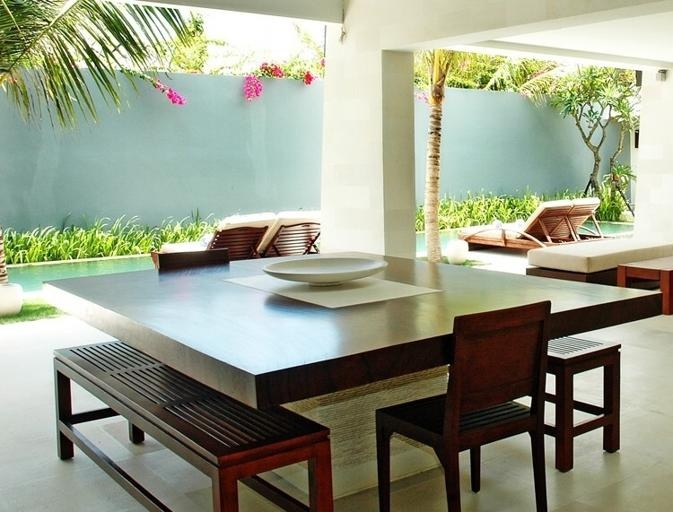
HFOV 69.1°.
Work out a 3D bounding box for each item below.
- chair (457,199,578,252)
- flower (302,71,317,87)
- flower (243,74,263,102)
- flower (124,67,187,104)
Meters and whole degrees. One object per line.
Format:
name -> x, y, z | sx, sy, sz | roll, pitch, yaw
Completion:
chair -> 3.221, -0.597, 8.653 | 1.127, 0.689, 1.421 | -7, 10, -41
flower -> -0.603, -3.749, 10.319 | 0.243, 0.281, 0.102 | -16, -12, -9
flower -> -1.678, -3.373, 9.790 | 0.267, 0.488, 0.383 | -15, 0, 39
flower -> -3.303, -3.109, 9.033 | 0.933, 0.593, 0.356 | -9, 13, -39
